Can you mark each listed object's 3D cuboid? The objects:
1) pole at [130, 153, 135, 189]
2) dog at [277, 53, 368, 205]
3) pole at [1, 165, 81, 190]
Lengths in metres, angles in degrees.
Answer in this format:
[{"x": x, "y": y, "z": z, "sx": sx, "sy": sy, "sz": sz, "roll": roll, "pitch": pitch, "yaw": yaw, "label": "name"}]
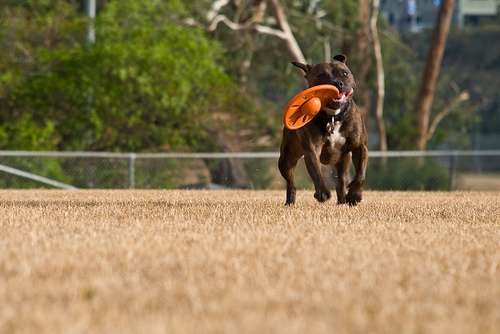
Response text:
[{"x": -2.104, "y": 0.077, "z": 18.327, "sx": 0.087, "sy": 0.626, "sz": 0.398, "roll": 2, "pitch": 4, "yaw": -7, "label": "pole"}, {"x": 1.038, "y": -0.427, "z": 15.062, "sx": 0.831, "sy": 2.681, "sz": 1.748, "roll": 1, "pitch": 59, "yaw": -7, "label": "dog"}, {"x": -3.778, "y": 0.178, "z": 18.550, "sx": 1.350, "sy": 0.401, "sz": 0.728, "roll": 3, "pitch": 5, "yaw": -9, "label": "pole"}]
